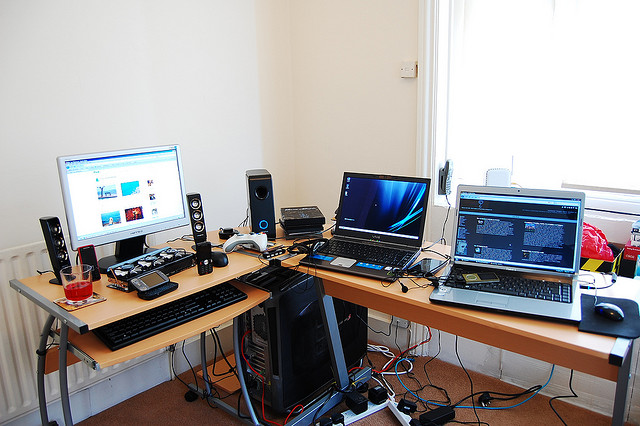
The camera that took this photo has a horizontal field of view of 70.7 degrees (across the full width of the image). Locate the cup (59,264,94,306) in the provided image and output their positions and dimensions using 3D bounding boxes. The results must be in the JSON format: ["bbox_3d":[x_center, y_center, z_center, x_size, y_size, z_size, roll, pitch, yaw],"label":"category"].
[{"bbox_3d":[-1.269,0.360,2.380,0.172,0.196,0.206,-5,17,-18],"label":"cup"}]

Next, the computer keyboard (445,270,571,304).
[{"bbox_3d":[0.990,0.382,2.357,0.592,0.064,0.155,2,15,19],"label":"computer keyboard"}]

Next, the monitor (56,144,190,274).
[{"bbox_3d":[-1.159,-0.024,2.625,0.254,0.630,0.663,14,20,43],"label":"monitor"}]

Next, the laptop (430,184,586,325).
[{"bbox_3d":[0.963,0.161,2.306,0.665,0.478,0.571,6,19,30],"label":"laptop"}]

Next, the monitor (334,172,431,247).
[{"bbox_3d":[0.465,0.022,2.673,0.679,0.447,0.404,6,9,-25],"label":"monitor"}]

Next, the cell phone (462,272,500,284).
[{"bbox_3d":[0.863,0.341,2.399,0.117,0.012,0.070,-2,19,3],"label":"cell phone"}]

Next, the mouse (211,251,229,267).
[{"bbox_3d":[-0.584,0.264,2.658,0.091,0.080,0.077,-6,15,-10],"label":"mouse"}]

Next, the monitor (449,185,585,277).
[{"bbox_3d":[0.962,0.126,2.322,0.699,0.467,0.437,5,12,33],"label":"monitor"}]

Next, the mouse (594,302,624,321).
[{"bbox_3d":[1.390,0.457,2.164,0.063,0.038,0.106,-19,32,-32],"label":"mouse"}]

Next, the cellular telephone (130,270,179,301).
[{"bbox_3d":[-0.879,0.380,2.413,0.203,0.099,0.167,-16,19,-39],"label":"cellular telephone"}]
